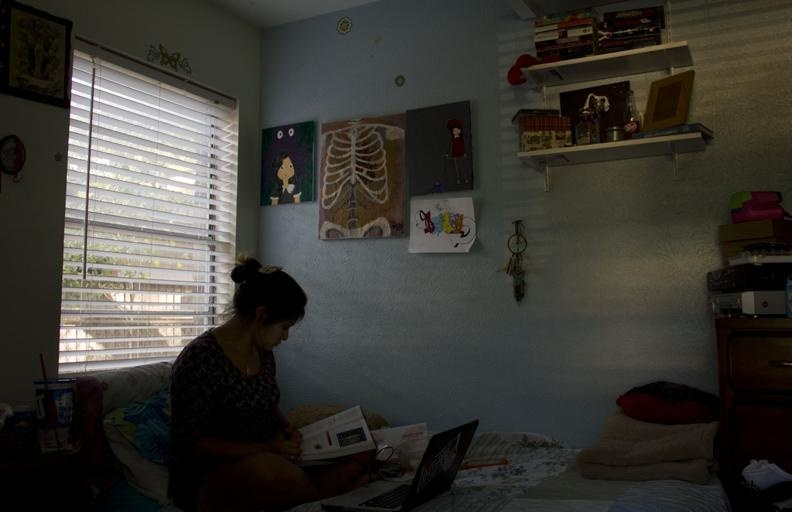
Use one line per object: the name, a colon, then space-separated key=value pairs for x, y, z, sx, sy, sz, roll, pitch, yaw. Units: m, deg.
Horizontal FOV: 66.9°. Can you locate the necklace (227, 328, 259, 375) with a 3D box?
necklace: x=-0.749 y=0.471 z=2.954 sx=0.064 sy=0.193 sz=0.207 roll=-16 pitch=-4 yaw=28

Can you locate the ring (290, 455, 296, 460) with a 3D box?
ring: x=-0.490 y=0.963 z=2.865 sx=0.030 sy=0.010 sz=0.037 roll=2 pitch=-3 yaw=-8

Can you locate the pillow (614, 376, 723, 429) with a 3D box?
pillow: x=1.485 y=0.798 z=3.226 sx=0.500 sy=0.247 sz=0.146 roll=3 pitch=-9 yaw=12

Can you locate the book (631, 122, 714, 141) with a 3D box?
book: x=1.580 y=-0.698 z=3.318 sx=0.497 sy=0.077 sz=0.194 roll=-1 pitch=-1 yaw=-6
